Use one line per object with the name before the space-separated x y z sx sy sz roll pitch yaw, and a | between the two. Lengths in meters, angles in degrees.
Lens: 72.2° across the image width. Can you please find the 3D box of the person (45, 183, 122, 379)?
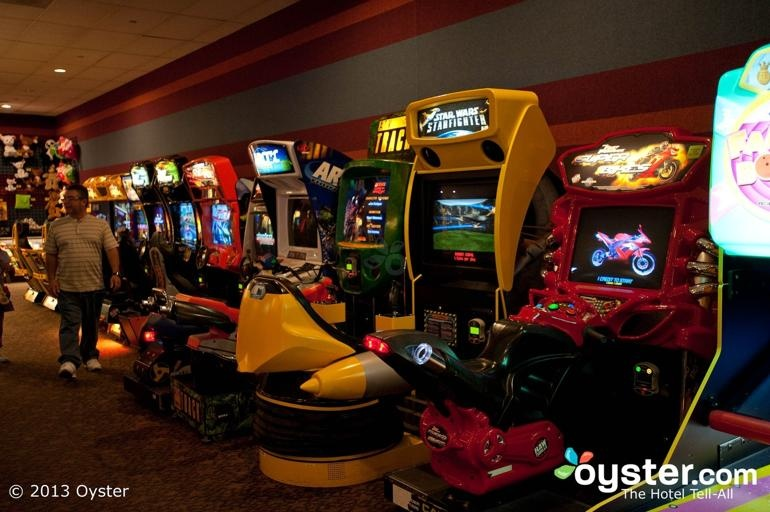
person | -3.572 0.290 6.286 0.728 2.282 0.577 -5 8 -32

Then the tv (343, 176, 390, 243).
tv | -0.158 -0.424 4.739 0.168 0.582 0.531 -8 10 -43

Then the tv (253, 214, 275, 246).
tv | -1.454 -0.319 6.385 0.092 0.372 0.472 -5 8 -29

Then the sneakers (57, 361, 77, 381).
sneakers | -3.692 1.329 6.145 0.180 0.239 0.274 -5 8 -31

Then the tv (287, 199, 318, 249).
tv | -0.909 -0.376 5.886 0.106 0.549 0.497 -7 9 -39

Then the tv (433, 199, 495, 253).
tv | 0.655 -0.244 4.191 0.078 0.493 0.740 -5 6 -41

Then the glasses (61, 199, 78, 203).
glasses | -3.687 -0.654 6.171 0.180 0.062 0.073 2 8 22
